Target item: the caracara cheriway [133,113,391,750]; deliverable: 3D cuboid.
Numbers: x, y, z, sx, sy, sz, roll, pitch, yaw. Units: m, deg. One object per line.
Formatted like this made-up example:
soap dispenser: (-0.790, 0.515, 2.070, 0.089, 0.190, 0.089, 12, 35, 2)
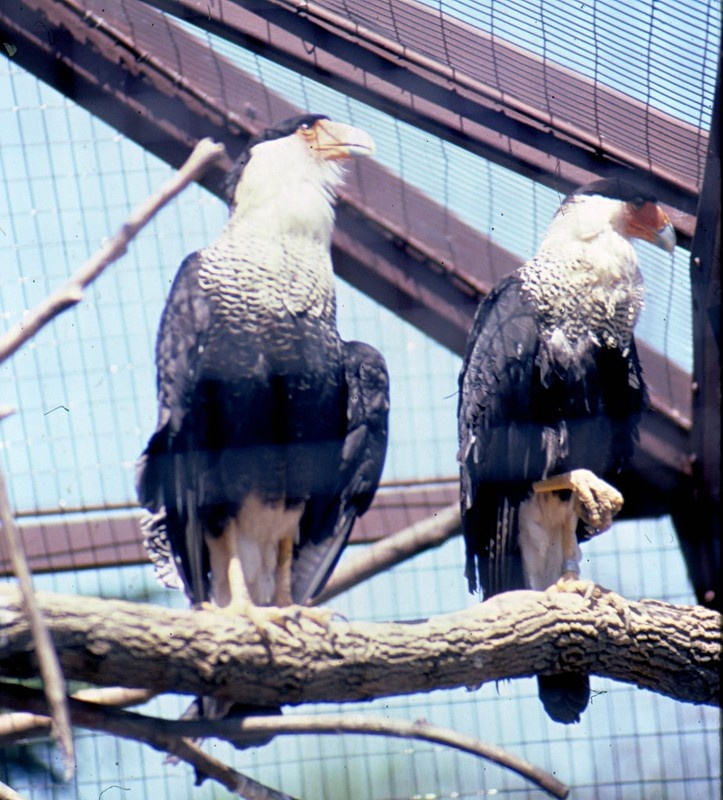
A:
caracara cheriway: (-0.238, -0.111, 6.742, 0.685, 1.379, 0.679, 16, -39, -15)
